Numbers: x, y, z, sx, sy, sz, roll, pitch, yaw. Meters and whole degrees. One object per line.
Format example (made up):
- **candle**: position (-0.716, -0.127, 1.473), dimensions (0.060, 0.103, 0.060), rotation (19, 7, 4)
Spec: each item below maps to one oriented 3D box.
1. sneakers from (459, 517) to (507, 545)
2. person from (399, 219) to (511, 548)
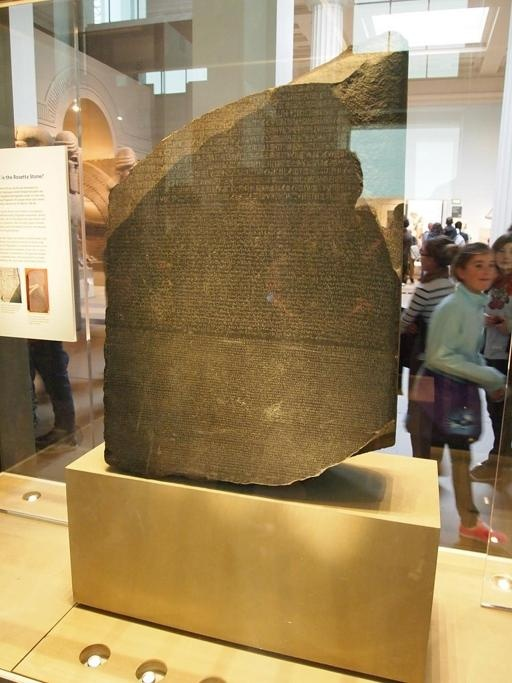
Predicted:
- **sneakers**: position (0.833, 0.711, 2.260), dimensions (0.177, 0.072, 0.070), rotation (2, 15, 24)
- **person**: position (0.707, 0.218, 2.180), dimensions (0.321, 1.136, 0.191), rotation (3, 11, 13)
